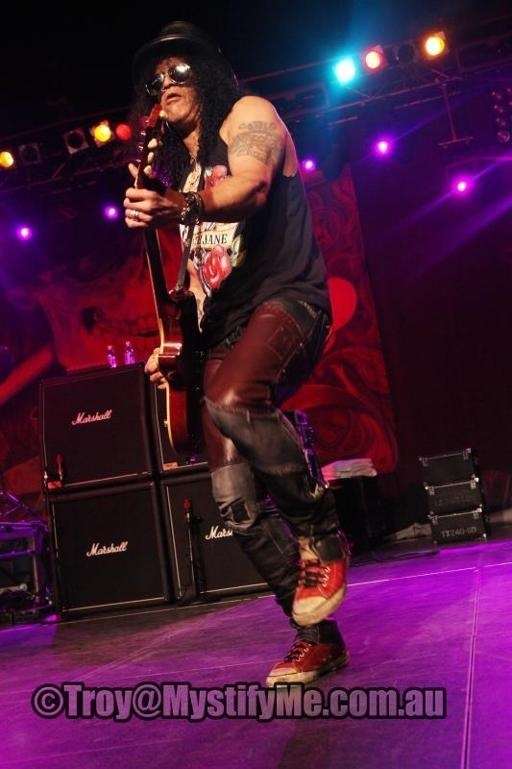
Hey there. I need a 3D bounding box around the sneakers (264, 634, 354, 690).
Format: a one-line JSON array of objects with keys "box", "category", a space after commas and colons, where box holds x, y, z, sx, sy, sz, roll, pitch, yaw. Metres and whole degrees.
[{"box": [0.113, 0.597, 1.381, 0.068, 0.088, 0.211, -10, -10, 40], "category": "sneakers"}]

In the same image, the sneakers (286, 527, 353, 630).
[{"box": [0.142, 0.439, 1.454, 0.089, 0.097, 0.248, -18, 22, 22], "category": "sneakers"}]

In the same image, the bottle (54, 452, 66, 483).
[{"box": [-1.148, 0.491, 3.757, 0.052, 0.162, 0.055, -4, -16, -1], "category": "bottle"}]

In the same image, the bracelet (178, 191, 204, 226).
[{"box": [-0.135, -0.362, 1.329, 0.054, 0.077, 0.030, -10, -7, -3], "category": "bracelet"}]
